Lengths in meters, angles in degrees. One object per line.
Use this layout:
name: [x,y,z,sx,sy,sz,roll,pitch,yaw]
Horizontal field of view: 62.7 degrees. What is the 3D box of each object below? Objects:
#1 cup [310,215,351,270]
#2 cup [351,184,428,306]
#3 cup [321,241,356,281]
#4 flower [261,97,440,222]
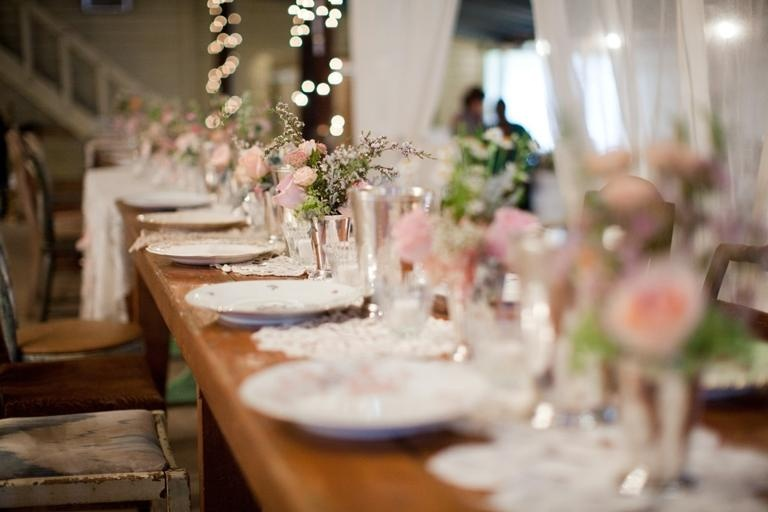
cup: [-0.119,-0.023,1.357,0.125,0.136,0.109,0,-1,3]
cup: [-0.007,-0.028,1.016,0.169,0.234,0.157,0,6,0]
cup: [-0.083,0.010,1.269,0.075,0.078,0.077,-2,0,0]
flower: [-0.128,-0.188,1.497,0.366,0.203,0.303,4,5,-4]
